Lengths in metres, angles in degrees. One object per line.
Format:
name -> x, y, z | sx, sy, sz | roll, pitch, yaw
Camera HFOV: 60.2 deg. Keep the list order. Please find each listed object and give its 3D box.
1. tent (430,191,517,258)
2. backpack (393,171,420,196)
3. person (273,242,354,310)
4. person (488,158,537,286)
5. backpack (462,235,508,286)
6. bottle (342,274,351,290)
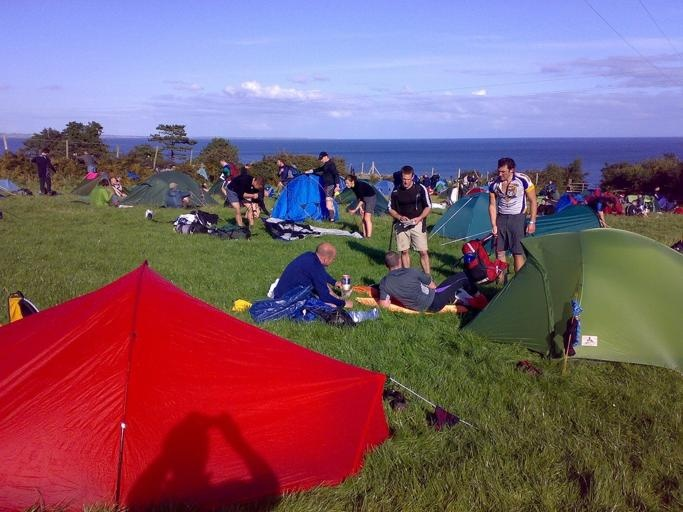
tent -> 3.107, -0.958, 15.001 | 1.366, 0.846, 1.428 | 9, 21, 39
backpack -> 1.168, -1.292, 10.584 | 0.322, 0.518, 0.485 | 11, -2, 22
person -> -0.425, 0.305, 8.892 | 1.057, 1.146, 0.958 | -3, 22, -25
person -> 2.889, -0.574, 10.015 | 0.681, 2.474, 0.595 | 9, 31, 31
backpack -> 2.389, 0.096, 9.735 | 0.510, 0.595, 0.414 | -26, -16, -28
bottle -> 0.080, 0.420, 9.302 | 0.162, 0.236, 0.183 | 0, 0, 1
